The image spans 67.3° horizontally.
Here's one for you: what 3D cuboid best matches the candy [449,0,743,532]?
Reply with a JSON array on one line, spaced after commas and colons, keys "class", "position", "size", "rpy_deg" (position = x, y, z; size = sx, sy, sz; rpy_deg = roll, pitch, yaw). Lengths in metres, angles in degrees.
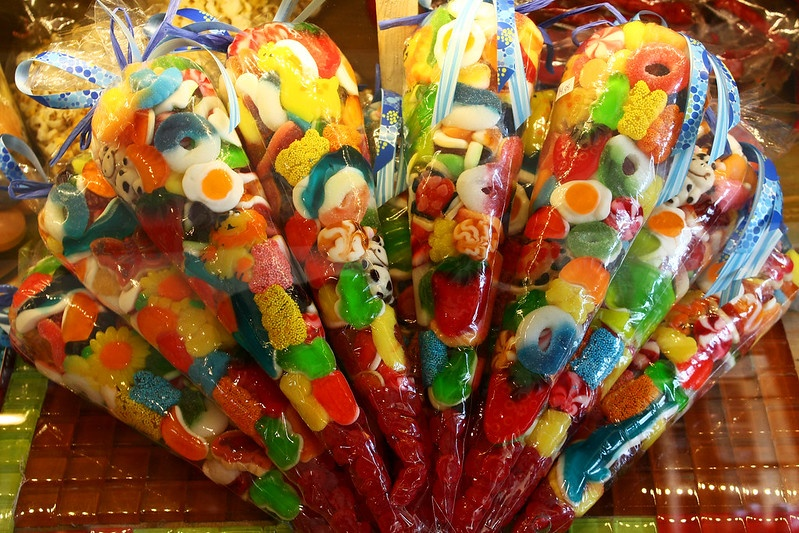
[{"class": "candy", "position": [0.321, 0.013, 1.172], "size": [0.313, 0.744, 0.804], "rpy_deg": [19, 41, 21]}]
